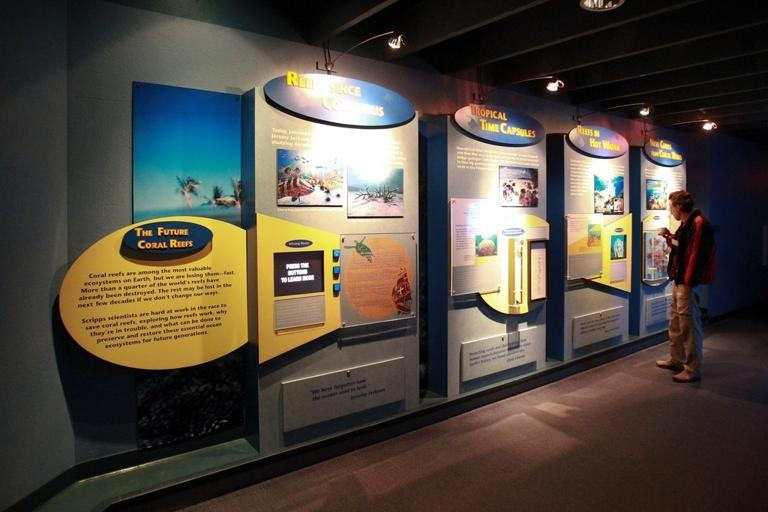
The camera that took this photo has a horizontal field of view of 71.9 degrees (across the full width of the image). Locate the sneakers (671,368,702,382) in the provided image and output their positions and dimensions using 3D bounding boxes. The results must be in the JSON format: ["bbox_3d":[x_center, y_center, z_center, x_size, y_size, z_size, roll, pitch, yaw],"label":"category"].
[{"bbox_3d":[3.837,1.507,6.687,0.399,0.165,0.141,3,-6,-12],"label":"sneakers"}]

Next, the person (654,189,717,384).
[{"bbox_3d":[3.872,0.362,6.737,0.550,2.341,0.731,1,8,12],"label":"person"}]
